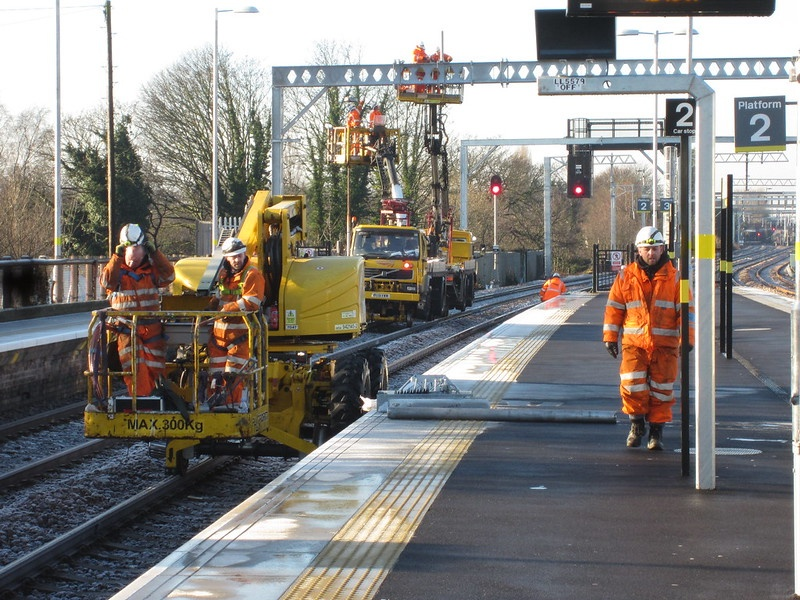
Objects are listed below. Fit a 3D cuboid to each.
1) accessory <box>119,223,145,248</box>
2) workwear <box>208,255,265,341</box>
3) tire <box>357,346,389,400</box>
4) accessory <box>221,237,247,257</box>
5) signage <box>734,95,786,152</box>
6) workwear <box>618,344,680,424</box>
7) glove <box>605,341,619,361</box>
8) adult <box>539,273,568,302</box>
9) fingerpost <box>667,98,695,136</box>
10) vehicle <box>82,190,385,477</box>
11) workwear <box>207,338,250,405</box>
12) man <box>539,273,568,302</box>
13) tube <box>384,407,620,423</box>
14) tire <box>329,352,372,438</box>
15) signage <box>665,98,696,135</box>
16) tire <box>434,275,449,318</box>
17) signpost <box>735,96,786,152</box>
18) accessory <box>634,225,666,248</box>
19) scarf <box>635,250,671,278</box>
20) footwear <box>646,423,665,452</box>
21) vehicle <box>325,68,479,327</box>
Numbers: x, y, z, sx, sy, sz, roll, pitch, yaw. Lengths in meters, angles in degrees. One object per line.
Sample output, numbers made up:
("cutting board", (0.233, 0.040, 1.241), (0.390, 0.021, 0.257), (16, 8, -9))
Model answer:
("accessory", (-3.178, -0.789, 12.210), (0.233, 0.321, 0.326), (1, 15, 6))
("workwear", (-1.755, 0.017, 11.381), (0.318, 0.877, 0.596), (16, -13, -41))
("tire", (-0.338, 0.986, 13.524), (0.246, 0.877, 0.832), (-2, 0, 10))
("accessory", (-1.860, -0.595, 11.522), (0.182, 0.135, 0.245), (-12, 0, -16))
("signage", (5.917, -2.867, 16.876), (0.798, 1.048, 0.087), (1, -21, 15))
("workwear", (2.537, 0.778, 10.360), (0.506, 0.999, 0.325), (9, 16, 28))
("glove", (2.177, 0.537, 10.431), (0.080, 0.223, 0.153), (-14, 19, 4))
("adult", (5.601, -0.541, 37.421), (0.704, 1.063, 3.409), (0, 6, 10))
("fingerpost", (2.754, -1.776, 10.043), (0.293, 0.399, 0.032), (3, -10, 19))
("vehicle", (-1.800, 0.457, 12.933), (2.085, 2.859, 4.668), (-1, -1, 11))
("workwear", (-1.841, 0.770, 11.160), (0.448, 0.655, 0.750), (-2, 6, -11))
("man", (5.615, -0.544, 37.447), (0.687, 1.063, 3.464), (0, 6, 10))
("tube", (1.167, 1.327, 11.825), (2.572, 0.208, 0.229), (-1, 6, 0))
("tire", (-0.535, 1.121, 12.944), (0.231, 0.846, 0.810), (4, 3, 9))
("signage", (2.755, -1.787, 10.052), (0.297, 0.395, 0.032), (1, 29, 9))
("tire", (1.372, -0.131, 33.200), (0.398, 1.401, 1.332), (-1, 0, 12))
("signpost", (5.957, -2.920, 16.967), (0.807, 1.042, 0.097), (2, 39, 22))
("accessory", (2.500, -0.638, 10.278), (0.192, 0.160, 0.272), (0, -3, 2))
("scarf", (2.535, -0.377, 10.247), (0.230, 0.136, 0.300), (-4, 10, 6))
("footwear", (2.617, 1.414, 10.498), (0.181, 0.419, 0.584), (1, -8, 10))
("vehicle", (-0.443, -2.975, 32.387), (2.543, 6.188, 6.138), (1, 4, -3))
